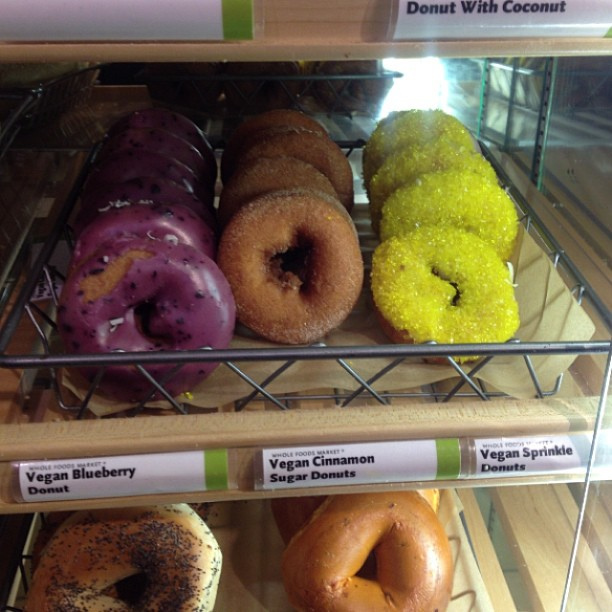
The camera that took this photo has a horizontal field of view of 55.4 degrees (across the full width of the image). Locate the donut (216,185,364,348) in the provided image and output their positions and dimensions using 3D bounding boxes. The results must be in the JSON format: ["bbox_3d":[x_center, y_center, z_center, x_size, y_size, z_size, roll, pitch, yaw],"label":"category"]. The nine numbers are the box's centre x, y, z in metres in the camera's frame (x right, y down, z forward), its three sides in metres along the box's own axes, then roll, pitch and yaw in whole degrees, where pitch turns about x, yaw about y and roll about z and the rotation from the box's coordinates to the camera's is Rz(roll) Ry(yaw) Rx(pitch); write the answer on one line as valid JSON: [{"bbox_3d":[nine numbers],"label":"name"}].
[{"bbox_3d":[-0.031,-0.043,0.698,0.084,0.174,0.227,-9,-20,39],"label":"donut"}]

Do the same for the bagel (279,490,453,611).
[{"bbox_3d":[0.064,0.266,0.633,0.185,0.110,0.121,0,37,2],"label":"bagel"}]

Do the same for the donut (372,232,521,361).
[{"bbox_3d":[0.163,-0.022,0.677,0.170,0.095,0.136,10,38,16],"label":"donut"}]

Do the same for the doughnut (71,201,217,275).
[{"bbox_3d":[-0.176,-0.083,0.624,0.126,0.089,0.036,3,-2,-18],"label":"doughnut"}]

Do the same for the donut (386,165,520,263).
[{"bbox_3d":[0.191,-0.115,0.722,0.161,0.113,0.044,-6,18,-7],"label":"donut"}]
